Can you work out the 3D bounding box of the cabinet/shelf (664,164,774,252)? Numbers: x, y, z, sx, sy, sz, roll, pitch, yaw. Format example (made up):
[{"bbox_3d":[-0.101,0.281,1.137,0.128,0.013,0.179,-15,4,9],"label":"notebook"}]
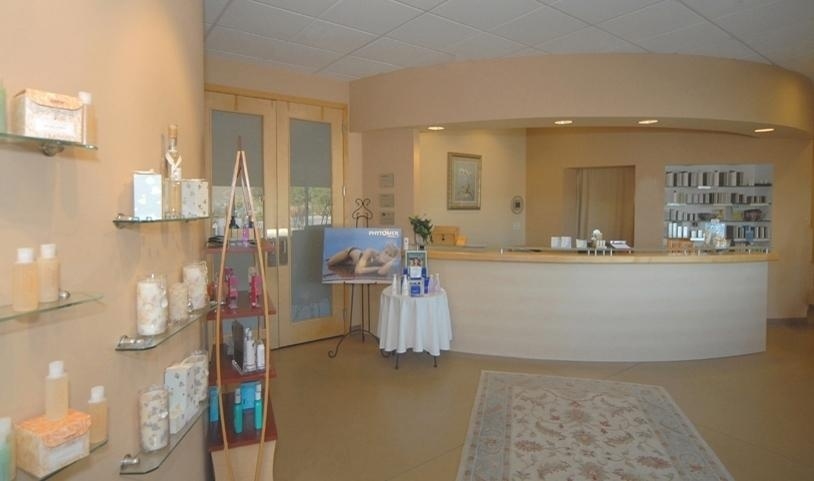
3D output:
[{"bbox_3d":[5.198,-0.588,8.482,1.584,1.329,0.496,0,-2,14],"label":"cabinet/shelf"}]

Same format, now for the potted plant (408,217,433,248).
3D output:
[{"bbox_3d":[0.220,-0.118,7.147,0.428,0.470,0.413,2,3,8],"label":"potted plant"}]

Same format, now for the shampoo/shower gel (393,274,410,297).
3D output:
[{"bbox_3d":[-0.079,0.562,6.479,0.287,0.360,0.138,0,-5,6],"label":"shampoo/shower gel"}]

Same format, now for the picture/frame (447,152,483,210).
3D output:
[{"bbox_3d":[0.960,-1.044,8.895,1.094,1.217,0.089,-1,0,-38],"label":"picture/frame"}]

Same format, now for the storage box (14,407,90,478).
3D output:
[{"bbox_3d":[-2.326,1.303,3.432,0.354,0.381,0.499,0,1,36],"label":"storage box"}]

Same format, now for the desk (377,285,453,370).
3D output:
[{"bbox_3d":[0.094,0.969,6.432,0.892,0.809,0.385,-1,4,-2],"label":"desk"}]
